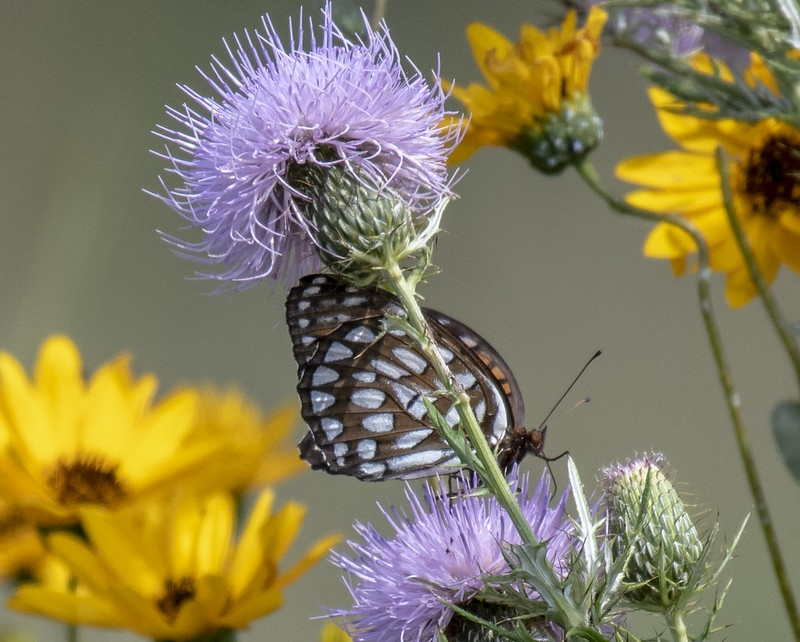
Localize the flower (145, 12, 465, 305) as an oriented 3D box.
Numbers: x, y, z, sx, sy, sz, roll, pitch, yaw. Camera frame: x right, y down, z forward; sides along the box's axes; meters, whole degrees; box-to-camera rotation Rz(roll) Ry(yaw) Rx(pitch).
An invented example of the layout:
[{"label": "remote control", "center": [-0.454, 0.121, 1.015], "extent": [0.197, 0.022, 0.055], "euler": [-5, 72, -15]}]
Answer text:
[{"label": "flower", "center": [-0.189, -0.443, 2.785], "extent": [0.628, 0.662, 0.493], "euler": [-21, -74, 4]}]
